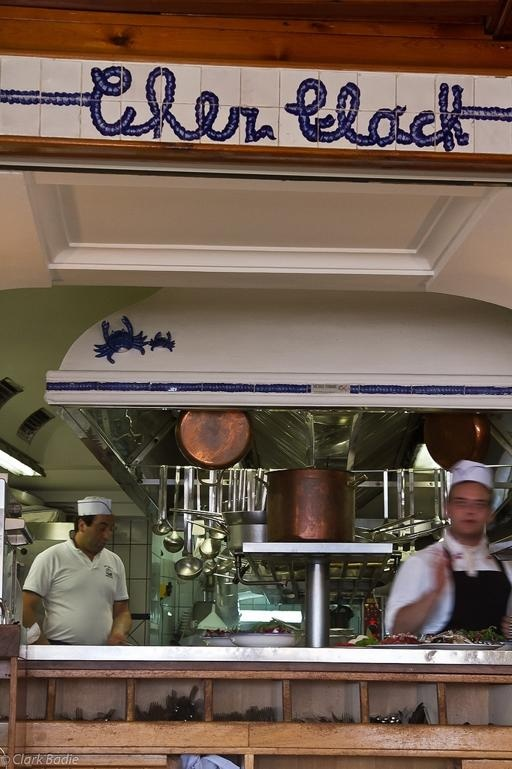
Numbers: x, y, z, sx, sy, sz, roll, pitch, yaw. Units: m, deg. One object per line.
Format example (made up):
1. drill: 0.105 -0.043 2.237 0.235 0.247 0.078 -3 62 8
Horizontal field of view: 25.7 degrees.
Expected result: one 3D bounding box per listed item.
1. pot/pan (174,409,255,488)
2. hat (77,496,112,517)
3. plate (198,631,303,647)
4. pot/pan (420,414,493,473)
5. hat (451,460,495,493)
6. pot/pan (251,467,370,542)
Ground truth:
1. pot/pan: -0.151 0.191 3.978 0.258 0.198 0.138 -1 -15 -5
2. hat: -0.611 0.462 4.250 0.101 0.056 0.099 0 -9 5
3. plate: -0.025 0.758 3.355 0.281 0.058 0.298 -4 -14 4
4. pot/pan: 0.764 0.223 4.303 0.275 0.256 0.285 1 5 24
5. hat: 0.746 0.305 3.882 0.114 0.078 0.112 14 -12 11
6. pot/pan: 0.191 0.396 3.754 0.297 0.179 0.227 1 -11 -3
